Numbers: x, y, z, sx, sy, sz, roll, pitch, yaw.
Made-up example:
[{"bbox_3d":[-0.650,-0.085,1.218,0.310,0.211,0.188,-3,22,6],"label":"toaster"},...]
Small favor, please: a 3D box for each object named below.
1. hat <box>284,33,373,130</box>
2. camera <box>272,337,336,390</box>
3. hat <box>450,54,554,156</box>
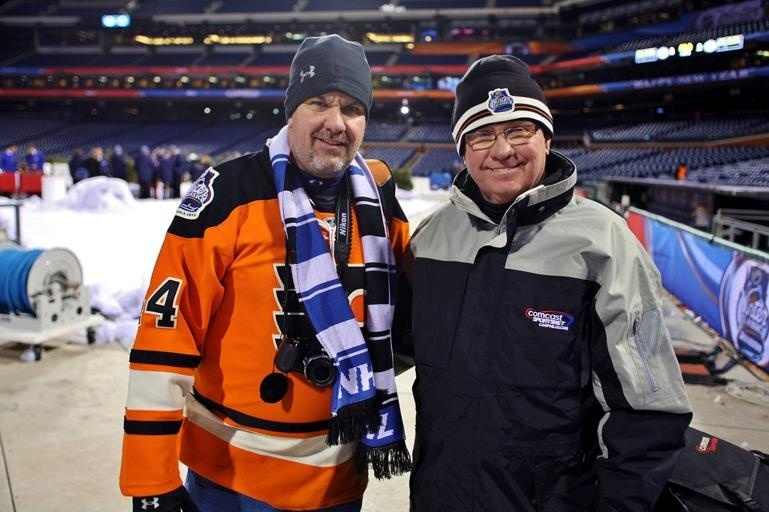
[{"bbox_3d":[-0.438,-1.419,5.929,0.535,0.592,0.720,2,-1,2],"label":"hat"},{"bbox_3d":[-0.600,0.804,5.682,0.489,0.313,0.416,21,16,-1],"label":"camera"},{"bbox_3d":[0.891,-1.220,5.760,0.659,0.571,0.685,-13,-15,9],"label":"hat"}]
